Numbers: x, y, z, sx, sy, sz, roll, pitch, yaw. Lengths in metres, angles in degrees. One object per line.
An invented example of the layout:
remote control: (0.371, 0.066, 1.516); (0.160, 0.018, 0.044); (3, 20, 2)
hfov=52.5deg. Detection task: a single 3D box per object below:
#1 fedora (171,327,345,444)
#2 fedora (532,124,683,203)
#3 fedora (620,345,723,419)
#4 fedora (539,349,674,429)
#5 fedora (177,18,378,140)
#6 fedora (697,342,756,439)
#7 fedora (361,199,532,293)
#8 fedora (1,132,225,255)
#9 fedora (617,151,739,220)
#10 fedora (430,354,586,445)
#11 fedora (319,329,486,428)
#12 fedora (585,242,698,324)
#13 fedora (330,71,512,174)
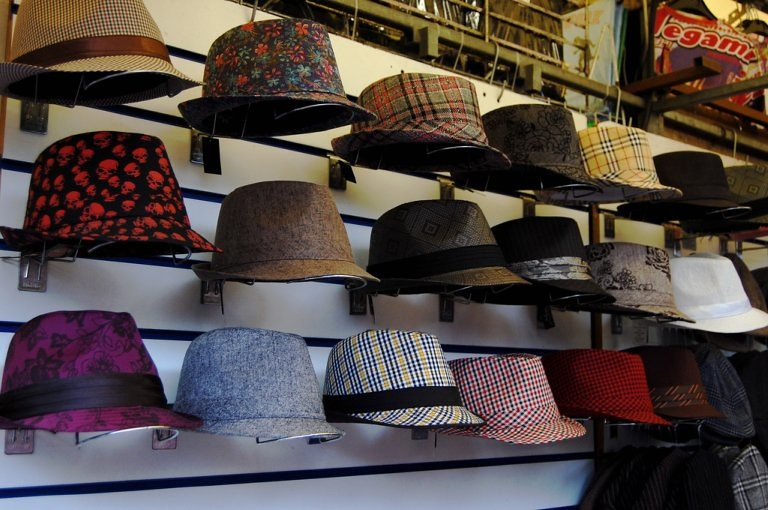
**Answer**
fedora: (-0.386, 0.394, 2.381); (0.441, 0.213, 0.370); (-8, -14, 35)
fedora: (0.898, -0.330, 3.107); (0.398, 0.194, 0.397); (1, -7, -34)
fedora: (1.218, 0.526, 3.214); (0.293, 0.189, 0.386); (-4, -18, 12)
fedora: (0.849, 0.512, 2.996); (0.398, 0.147, 0.300); (-6, -10, 41)
fedora: (-0.323, -0.528, 2.392); (0.524, 0.219, 0.396); (-12, -13, 33)
fedora: (1.524, 0.605, 3.479); (0.165, 0.401, 0.299); (-28, -12, 28)
fedora: (0.202, -0.035, 2.663); (0.392, 0.154, 0.380); (-6, -6, 34)
fedora: (-0.777, -0.144, 2.258); (0.485, 0.236, 0.436); (-10, -10, 36)
fedora: (1.254, -0.282, 3.337); (0.315, 0.155, 0.412); (1, -8, -36)
fedora: (0.451, 0.494, 2.703); (0.336, 0.154, 0.404); (-1, -6, -33)
fedora: (0.055, 0.382, 2.478); (0.429, 0.167, 0.340); (-5, -9, 42)
fedora: (1.020, 0.115, 3.137); (0.339, 0.184, 0.380); (-1, -5, -33)
fedora: (0.120, -0.432, 2.665); (0.494, 0.189, 0.374); (-5, -12, 27)
